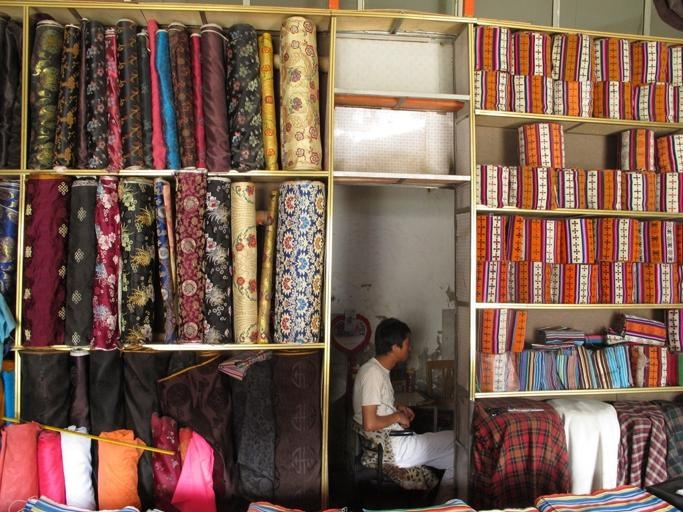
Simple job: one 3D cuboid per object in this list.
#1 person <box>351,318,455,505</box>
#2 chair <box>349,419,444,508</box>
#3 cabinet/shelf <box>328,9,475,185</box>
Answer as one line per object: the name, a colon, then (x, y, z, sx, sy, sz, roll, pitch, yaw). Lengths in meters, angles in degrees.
person: (0.424, 1.051, 4.997, 0.708, 1.232, 0.523, -3, 2, -16)
chair: (0.321, 1.269, 4.920, 0.474, 0.638, 0.480, 0, -4, -9)
cabinet/shelf: (0.322, -0.900, 4.529, 1.019, 1.141, 0.379, 1, -3, -7)
